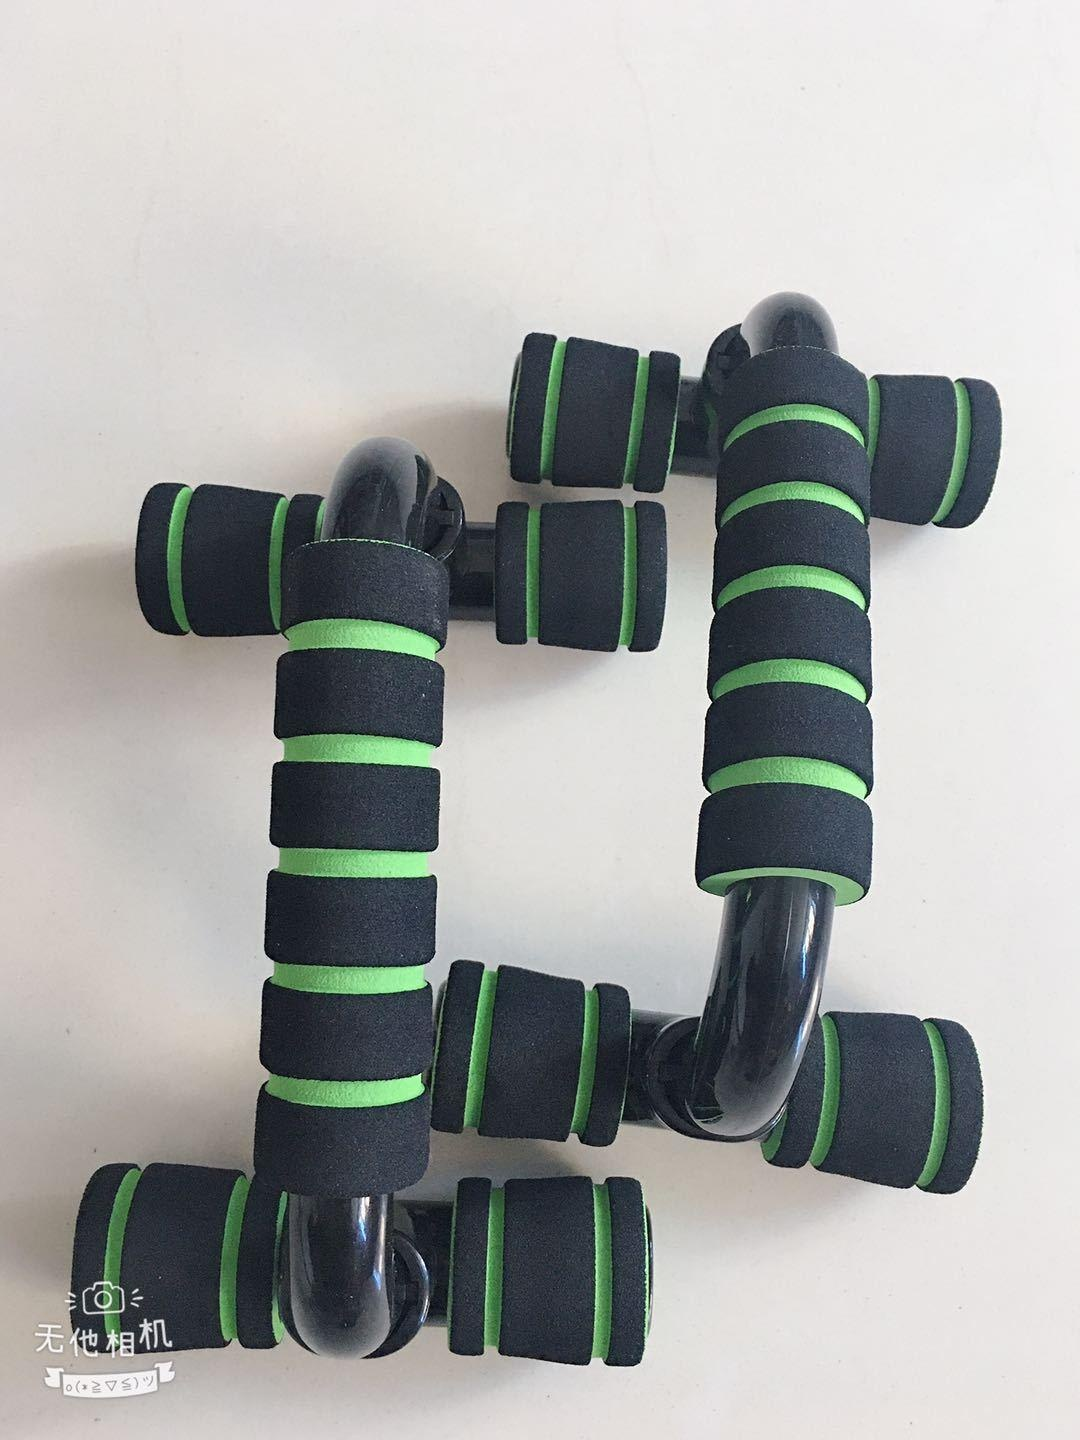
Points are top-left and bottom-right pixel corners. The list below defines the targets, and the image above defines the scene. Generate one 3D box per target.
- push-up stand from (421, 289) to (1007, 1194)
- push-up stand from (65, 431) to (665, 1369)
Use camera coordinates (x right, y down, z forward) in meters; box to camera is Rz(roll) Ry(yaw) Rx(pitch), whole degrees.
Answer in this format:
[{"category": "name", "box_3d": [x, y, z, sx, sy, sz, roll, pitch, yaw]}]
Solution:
[{"category": "push-up stand", "box_3d": [0.109, 0.025, 1.095, 0.327, 0.667, 0.240, 3, -6, -22]}, {"category": "push-up stand", "box_3d": [-0.096, 0.174, 1.138, 0.309, 0.673, 0.218, 2, 0, -7]}]
